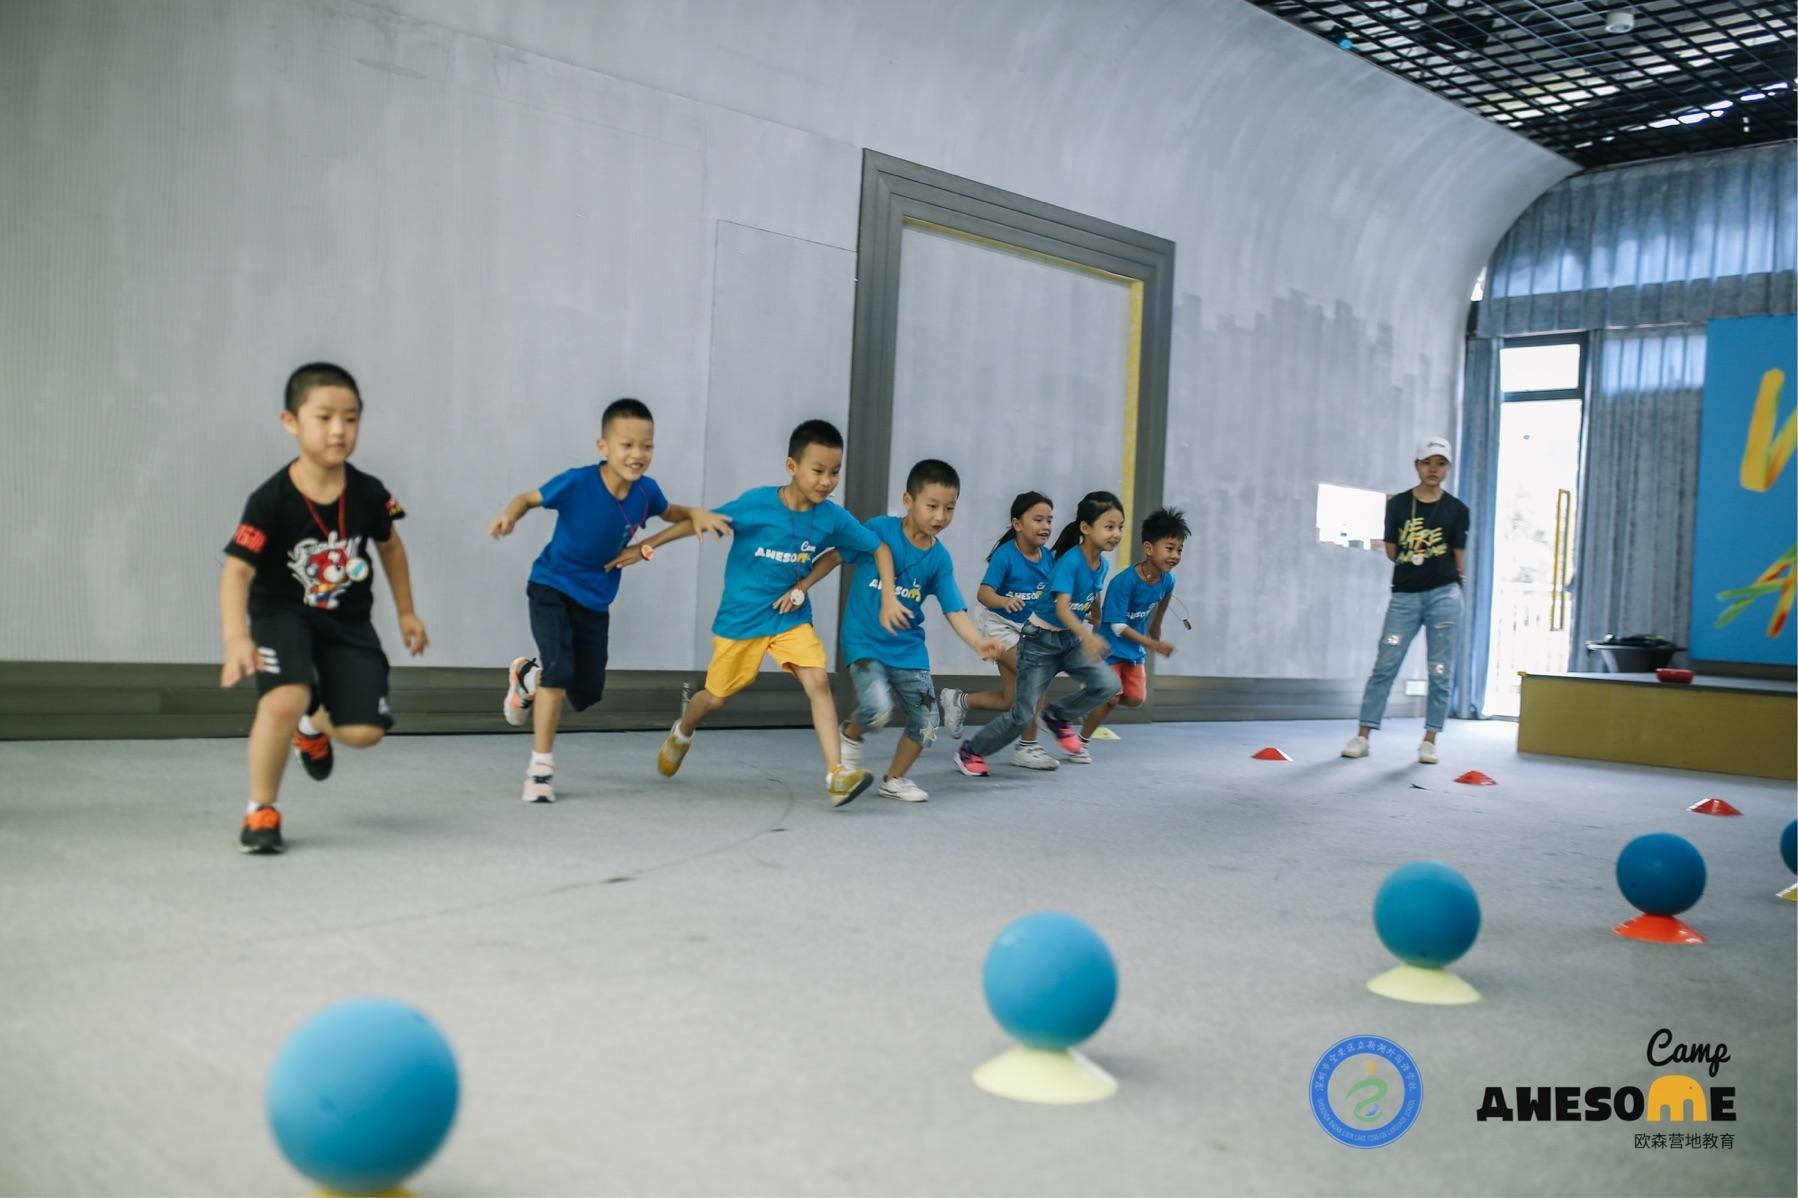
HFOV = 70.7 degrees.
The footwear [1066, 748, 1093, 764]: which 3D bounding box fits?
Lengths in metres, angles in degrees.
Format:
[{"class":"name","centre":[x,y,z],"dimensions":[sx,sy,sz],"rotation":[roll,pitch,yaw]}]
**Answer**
[{"class":"footwear","centre":[0.837,0.726,5.821],"dimensions":[0.125,0.084,0.058],"rotation":[-2,3,8]}]

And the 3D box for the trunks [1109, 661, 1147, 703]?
[{"class":"trunks","centre":[1.053,0.385,5.826],"dimensions":[0.175,0.237,0.137],"rotation":[1,-28,1]}]

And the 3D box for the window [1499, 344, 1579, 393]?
[{"class":"window","centre":[4.961,-1.765,9.710],"dimensions":[0.432,0.279,0.010],"rotation":[-1,-6,44]}]

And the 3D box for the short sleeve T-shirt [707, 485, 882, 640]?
[{"class":"short sleeve T-shirt","centre":[-0.425,-0.133,4.636],"dimensions":[0.760,0.583,0.348],"rotation":[2,19,-31]}]

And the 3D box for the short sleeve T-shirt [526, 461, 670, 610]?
[{"class":"short sleeve T-shirt","centre":[-1.165,-0.244,4.765],"dimensions":[0.479,0.550,0.251],"rotation":[31,-12,-37]}]

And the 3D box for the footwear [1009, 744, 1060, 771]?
[{"class":"footwear","centre":[0.574,0.704,5.609],"dimensions":[0.258,0.117,0.092],"rotation":[1,-6,29]}]

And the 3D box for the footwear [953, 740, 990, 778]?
[{"class":"footwear","centre":[0.305,0.682,5.373],"dimensions":[0.080,0.072,0.186],"rotation":[0,6,-30]}]

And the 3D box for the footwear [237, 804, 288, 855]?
[{"class":"footwear","centre":[-1.780,0.635,3.524],"dimensions":[0.110,0.126,0.158],"rotation":[-2,10,-27]}]

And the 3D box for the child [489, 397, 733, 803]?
[{"class":"child","centre":[-1.126,-0.026,4.542],"dimensions":[0.767,1.367,0.623],"rotation":[-5,12,-42]}]

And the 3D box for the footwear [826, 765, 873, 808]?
[{"class":"footwear","centre":[-0.175,0.651,4.367],"dimensions":[0.128,0.150,0.147],"rotation":[2,9,-7]}]

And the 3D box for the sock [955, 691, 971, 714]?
[{"class":"sock","centre":[0.285,0.438,5.693],"dimensions":[0.061,0.051,0.145],"rotation":[-6,26,3]}]

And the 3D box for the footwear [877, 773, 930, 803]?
[{"class":"footwear","centre":[0.016,0.700,4.668],"dimensions":[0.168,0.071,0.086],"rotation":[4,-3,19]}]

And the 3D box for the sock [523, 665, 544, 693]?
[{"class":"sock","centre":[-1.318,0.288,4.543],"dimensions":[0.072,0.101,0.101],"rotation":[6,4,-17]}]

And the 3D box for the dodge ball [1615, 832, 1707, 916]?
[{"class":"dodge ball","centre":[1.990,0.715,3.325],"dimensions":[0.220,0.220,0.258],"rotation":[-25,-16,31]}]

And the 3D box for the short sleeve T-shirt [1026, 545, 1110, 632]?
[{"class":"short sleeve T-shirt","centre":[0.699,-0.047,5.311],"dimensions":[0.167,0.298,0.297],"rotation":[15,-14,36]}]

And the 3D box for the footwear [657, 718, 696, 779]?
[{"class":"footwear","centre":[-0.817,0.525,4.786],"dimensions":[0.102,0.274,0.115],"rotation":[33,-42,-26]}]

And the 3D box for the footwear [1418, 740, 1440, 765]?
[{"class":"footwear","centre":[2.798,0.818,6.662],"dimensions":[0.088,0.098,0.233],"rotation":[-3,-14,18]}]

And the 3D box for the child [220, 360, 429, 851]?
[{"class":"child","centre":[-1.747,-0.004,3.709],"dimensions":[0.587,1.345,0.668],"rotation":[10,11,39]}]

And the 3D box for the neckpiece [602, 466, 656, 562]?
[{"class":"neckpiece","centre":[-1.000,-0.299,4.612],"dimensions":[0.114,0.294,0.297],"rotation":[15,9,30]}]

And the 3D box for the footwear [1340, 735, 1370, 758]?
[{"class":"footwear","centre":[2.435,0.801,6.776],"dimensions":[0.100,0.117,0.273],"rotation":[-6,-11,37]}]

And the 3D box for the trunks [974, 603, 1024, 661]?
[{"class":"trunks","centre":[0.456,0.145,5.852],"dimensions":[0.249,0.083,0.145],"rotation":[37,41,19]}]

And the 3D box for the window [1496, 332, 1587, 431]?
[{"class":"window","centre":[4.965,-1.658,9.677],"dimensions":[0.820,0.766,0.088],"rotation":[0,1,41]}]

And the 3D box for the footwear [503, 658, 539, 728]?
[{"class":"footwear","centre":[-1.453,0.352,4.841],"dimensions":[0.130,0.276,0.206],"rotation":[19,-8,-12]}]

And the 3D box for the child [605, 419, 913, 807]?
[{"class":"child","centre":[-0.324,-0.062,5.081],"dimensions":[1.020,1.504,1.344],"rotation":[1,1,-45]}]

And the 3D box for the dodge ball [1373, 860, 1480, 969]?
[{"class":"dodge ball","centre":[1.243,0.747,2.963],"dimensions":[0.302,0.286,0.304],"rotation":[-1,-14,0]}]

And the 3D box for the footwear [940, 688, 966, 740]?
[{"class":"footwear","centre":[0.238,0.531,5.687],"dimensions":[0.129,0.265,0.101],"rotation":[-4,9,12]}]

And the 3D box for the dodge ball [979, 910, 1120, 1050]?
[{"class":"dodge ball","centre":[0.304,0.774,2.581],"dimensions":[0.288,0.325,0.288],"rotation":[-1,5,0]}]

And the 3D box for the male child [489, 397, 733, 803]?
[{"class":"male child","centre":[-1.121,-0.025,4.535],"dimensions":[0.767,1.367,0.599],"rotation":[-5,12,-42]}]

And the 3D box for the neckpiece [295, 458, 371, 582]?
[{"class":"neckpiece","centre":[-1.655,-0.213,3.715],"dimensions":[0.139,0.089,0.345],"rotation":[-7,-32,-16]}]

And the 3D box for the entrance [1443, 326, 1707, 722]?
[{"class":"entrance","centre":[5.063,-0.538,9.507],"dimensions":[1.614,2.974,0.683],"rotation":[7,10,25]}]

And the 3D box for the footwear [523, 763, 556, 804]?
[{"class":"footwear","centre":[-1.219,0.623,4.260],"dimensions":[0.109,0.115,0.119],"rotation":[0,9,-15]}]

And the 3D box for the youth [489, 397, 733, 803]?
[{"class":"youth","centre":[-1.121,-0.025,4.535],"dimensions":[0.767,1.367,0.599],"rotation":[-5,12,-42]}]

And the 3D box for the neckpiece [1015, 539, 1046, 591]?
[{"class":"neckpiece","centre":[0.570,-0.143,5.506],"dimensions":[0.203,0.196,0.111],"rotation":[11,-9,-39]}]

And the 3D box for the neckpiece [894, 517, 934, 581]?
[{"class":"neckpiece","centre":[0.063,-0.181,4.727],"dimensions":[0.151,0.206,0.080],"rotation":[7,6,-11]}]

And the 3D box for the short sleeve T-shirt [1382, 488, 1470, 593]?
[{"class":"short sleeve T-shirt","centre":[2.762,-0.302,6.621],"dimensions":[0.431,0.528,0.271],"rotation":[8,22,28]}]

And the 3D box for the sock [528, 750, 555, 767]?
[{"class":"sock","centre":[-1.236,0.548,4.332],"dimensions":[0.068,0.060,0.092],"rotation":[2,-9,-9]}]

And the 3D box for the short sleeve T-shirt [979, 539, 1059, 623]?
[{"class":"short sleeve T-shirt","centre":[0.532,-0.063,5.481],"dimensions":[0.341,0.325,0.186],"rotation":[14,-9,-33]}]

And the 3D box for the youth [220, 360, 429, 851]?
[{"class":"youth","centre":[-1.747,-0.004,3.711],"dimensions":[0.586,1.345,0.664],"rotation":[10,11,39]}]
